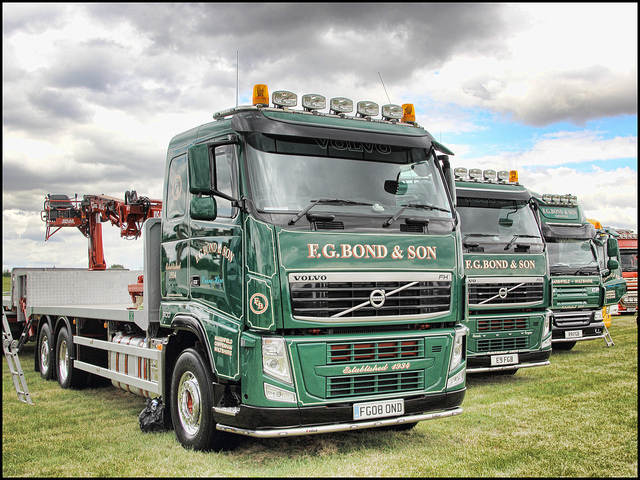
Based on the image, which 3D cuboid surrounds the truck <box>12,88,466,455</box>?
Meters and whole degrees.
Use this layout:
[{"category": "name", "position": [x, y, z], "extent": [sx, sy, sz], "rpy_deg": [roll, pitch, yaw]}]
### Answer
[{"category": "truck", "position": [-2.252, 0.709, 10.543], "extent": [3.647, 4.379, 9.768], "rpy_deg": [3, -6, -37]}]

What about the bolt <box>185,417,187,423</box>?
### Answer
[{"category": "bolt", "position": [-1.786, 2.380, 7.624], "extent": [0.004, 0.065, 0.057], "rpy_deg": [1, -2, -42]}]

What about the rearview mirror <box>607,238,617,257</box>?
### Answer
[{"category": "rearview mirror", "position": [7.438, 0.181, 14.637], "extent": [0.218, 0.467, 0.323], "rpy_deg": [-1, -2, 26]}]

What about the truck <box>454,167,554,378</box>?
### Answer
[{"category": "truck", "position": [3.530, 0.602, 11.311], "extent": [1.908, 3.710, 1.073], "rpy_deg": [0, -2, -21]}]

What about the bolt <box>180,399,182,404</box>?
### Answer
[{"category": "bolt", "position": [-1.878, 2.169, 7.732], "extent": [0.048, 0.060, 0.007], "rpy_deg": [-2, -2, 39]}]

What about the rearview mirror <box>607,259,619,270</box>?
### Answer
[{"category": "rearview mirror", "position": [8.257, 0.693, 16.235], "extent": [0.300, 0.277, 0.167], "rpy_deg": [-2, -3, -7]}]

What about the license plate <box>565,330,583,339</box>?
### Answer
[{"category": "license plate", "position": [6.114, 2.270, 13.846], "extent": [0.509, 0.191, 0.028], "rpy_deg": [0, -2, -17]}]

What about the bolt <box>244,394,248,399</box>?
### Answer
[{"category": "bolt", "position": [-0.865, 1.813, 6.668], "extent": [0.043, 0.062, 0.010], "rpy_deg": [-2, -4, -22]}]

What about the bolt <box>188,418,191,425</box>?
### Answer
[{"category": "bolt", "position": [-1.718, 2.381, 7.543], "extent": [0.008, 0.079, 0.081], "rpy_deg": [1, -2, -36]}]
